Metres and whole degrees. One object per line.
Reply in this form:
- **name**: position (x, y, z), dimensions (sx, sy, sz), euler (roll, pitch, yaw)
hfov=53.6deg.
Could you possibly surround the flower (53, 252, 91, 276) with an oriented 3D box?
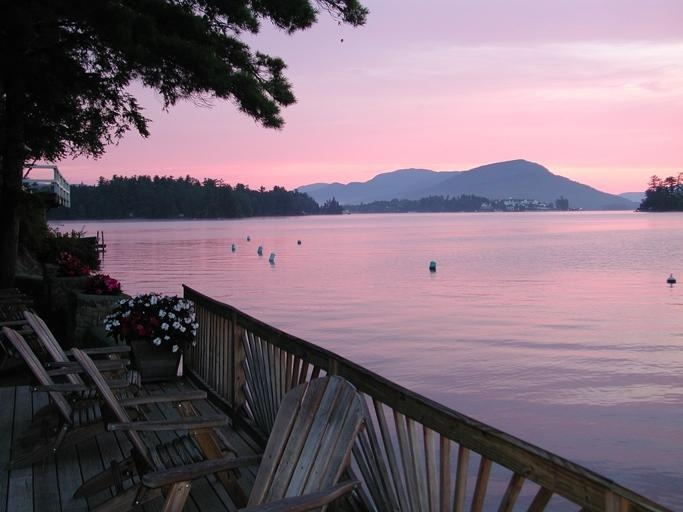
- **flower**: position (-5.561, 0.179, 14.116), dimensions (0.558, 0.464, 0.805), euler (-5, 10, -32)

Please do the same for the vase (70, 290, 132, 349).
- **vase**: position (-4.200, 1.165, 11.256), dimensions (1.111, 0.865, 1.162), euler (-9, -14, 9)

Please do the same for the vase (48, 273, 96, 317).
- **vase**: position (-5.417, 0.694, 13.383), dimensions (0.987, 1.006, 0.977), euler (2, 1, -27)

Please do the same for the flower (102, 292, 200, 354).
- **flower**: position (-2.440, 0.804, 8.645), dimensions (0.916, 0.650, 0.810), euler (2, 1, -21)

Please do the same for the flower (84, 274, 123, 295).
- **flower**: position (-4.041, 0.474, 11.461), dimensions (0.433, 0.309, 0.398), euler (9, 5, 34)
